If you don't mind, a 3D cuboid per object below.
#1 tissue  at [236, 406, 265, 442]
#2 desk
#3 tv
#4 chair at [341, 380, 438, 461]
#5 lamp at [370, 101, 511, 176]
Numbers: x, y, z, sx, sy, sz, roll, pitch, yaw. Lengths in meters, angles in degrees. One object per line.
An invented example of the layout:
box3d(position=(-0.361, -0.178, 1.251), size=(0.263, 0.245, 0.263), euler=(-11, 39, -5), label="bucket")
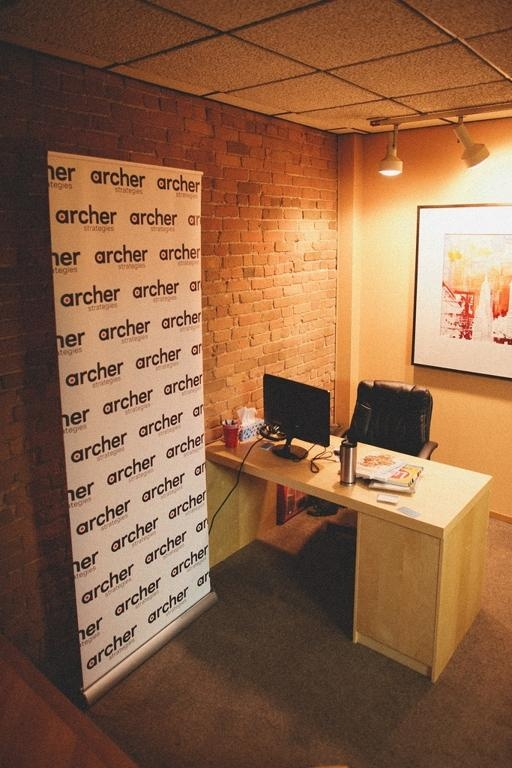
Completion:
box3d(position=(-0.041, 0.236, 3.385), size=(0.082, 0.158, 0.165), euler=(10, 18, 34), label="tissue ")
box3d(position=(0.435, 0.755, 3.034), size=(1.324, 0.757, 0.758), euler=(14, 22, 40), label="desk")
box3d(position=(0.185, 0.193, 3.105), size=(0.417, 0.389, 0.147), euler=(12, 21, 31), label="tv")
box3d(position=(0.816, 0.144, 3.608), size=(0.433, 0.634, 0.490), euler=(6, 11, 32), label="chair")
box3d(position=(1.062, -1.391, 3.364), size=(0.961, 0.343, 0.604), euler=(12, 18, 43), label="lamp")
